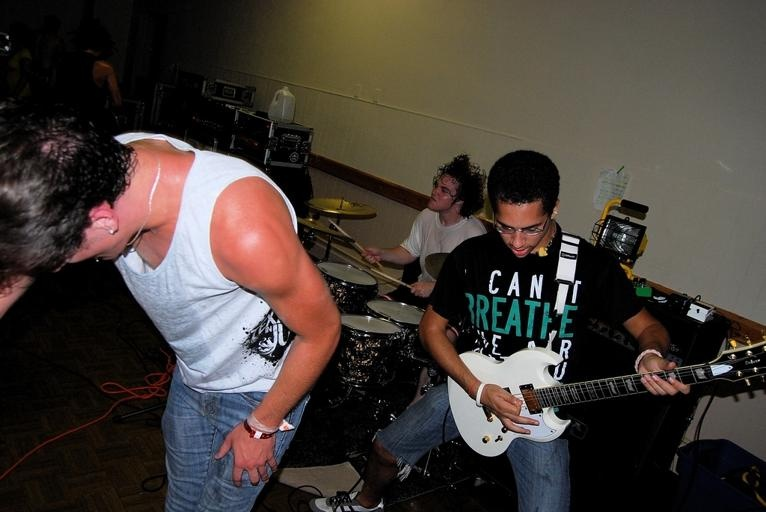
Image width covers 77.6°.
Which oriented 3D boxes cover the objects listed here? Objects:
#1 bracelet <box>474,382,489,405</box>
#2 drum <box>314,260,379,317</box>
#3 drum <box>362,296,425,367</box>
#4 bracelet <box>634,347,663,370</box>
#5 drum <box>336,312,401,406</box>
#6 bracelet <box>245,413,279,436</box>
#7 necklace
[{"bbox_3d":[0.530,0.755,2.587,0.025,0.102,0.085,6,-2,-8],"label":"bracelet"},{"bbox_3d":[-0.327,0.240,4.390,0.482,0.452,0.478,6,13,-7],"label":"drum"},{"bbox_3d":[0.154,0.570,4.037,0.478,0.503,0.463,18,25,15],"label":"drum"},{"bbox_3d":[1.315,0.532,2.366,0.100,0.129,0.108,21,19,23],"label":"bracelet"},{"bbox_3d":[-0.041,0.769,4.047,0.639,0.690,0.684,12,27,-2],"label":"drum"},{"bbox_3d":[-0.433,0.609,1.680,0.086,0.084,0.031,12,59,5],"label":"bracelet"},{"bbox_3d":[-0.751,-0.199,1.492,0.061,0.359,0.052,17,-10,-18],"label":"necklace"}]
